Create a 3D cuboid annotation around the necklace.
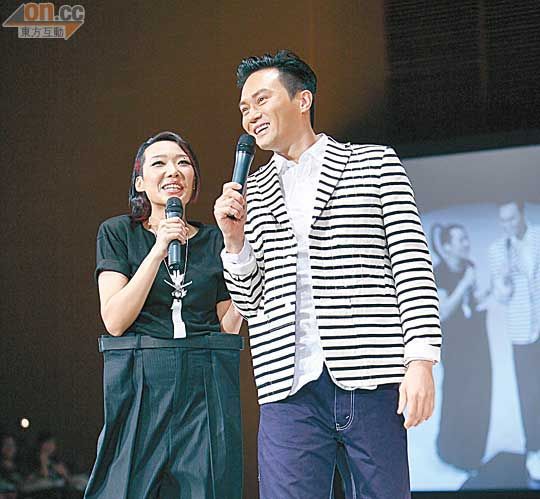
[{"bbox_3d":[-0.355,0.020,2.809,0.099,0.414,0.157,2,-31,-11],"label":"necklace"}]
